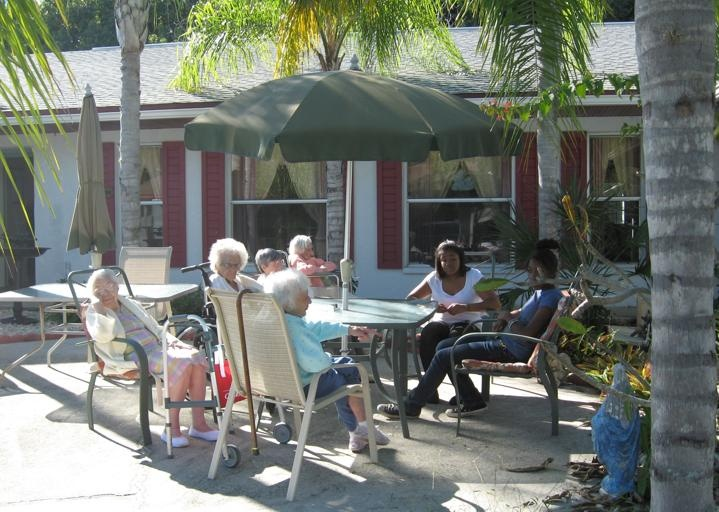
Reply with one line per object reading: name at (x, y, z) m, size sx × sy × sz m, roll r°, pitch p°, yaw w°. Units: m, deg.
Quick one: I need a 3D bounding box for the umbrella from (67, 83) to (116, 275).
umbrella at (-3.192, -0.931, 10.832) m, size 0.522 × 2.110 × 0.586 m, roll -1°, pitch 3°, yaw 8°

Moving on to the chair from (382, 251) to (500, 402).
chair at (0.877, 0.630, 9.124) m, size 0.876 × 1.607 × 0.826 m, roll -1°, pitch -3°, yaw 35°

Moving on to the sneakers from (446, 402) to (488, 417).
sneakers at (1.000, 1.410, 8.490) m, size 0.408 × 0.192 × 0.162 m, roll 2°, pitch -2°, yaw -8°

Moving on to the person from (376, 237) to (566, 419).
person at (1.045, 0.625, 8.567) m, size 1.435 × 1.873 × 0.711 m, roll 6°, pitch 6°, yaw 3°

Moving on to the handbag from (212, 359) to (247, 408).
handbag at (-1.164, 1.038, 8.140) m, size 0.256 × 0.381 × 0.275 m, roll 25°, pitch -20°, yaw -16°

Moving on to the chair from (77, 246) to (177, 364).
chair at (-2.579, 0.263, 10.473) m, size 0.621 × 1.275 × 0.824 m, roll 0°, pitch -3°, yaw 6°

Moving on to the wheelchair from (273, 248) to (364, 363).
wheelchair at (-0.513, 0.285, 10.057) m, size 0.572 × 0.807 × 0.623 m, roll -15°, pitch 1°, yaw -8°

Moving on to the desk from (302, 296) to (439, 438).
desk at (0.161, 0.789, 8.482) m, size 1.134 × 0.989 × 1.039 m, roll 5°, pitch 15°, yaw 25°

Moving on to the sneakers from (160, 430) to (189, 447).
sneakers at (-1.578, 1.554, 7.827) m, size 0.226 × 0.095 × 0.130 m, roll 2°, pitch 4°, yaw 38°

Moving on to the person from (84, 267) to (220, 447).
person at (-1.830, 0.854, 7.934) m, size 1.128 × 1.495 × 0.585 m, roll -1°, pitch 3°, yaw 19°

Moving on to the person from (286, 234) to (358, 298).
person at (-0.379, 0.110, 10.069) m, size 0.360 × 1.016 × 0.465 m, roll -10°, pitch 12°, yaw 24°

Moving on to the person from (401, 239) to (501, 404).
person at (0.859, 0.620, 9.127) m, size 0.845 × 1.586 × 0.824 m, roll 0°, pitch -1°, yaw 36°

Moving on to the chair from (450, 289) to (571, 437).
chair at (1.114, 0.893, 8.222) m, size 0.874 × 1.300 × 0.914 m, roll 9°, pitch -12°, yaw -4°

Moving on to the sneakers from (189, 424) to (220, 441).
sneakers at (-1.338, 1.495, 7.934) m, size 0.232 × 0.097 × 0.121 m, roll 0°, pitch 3°, yaw 22°

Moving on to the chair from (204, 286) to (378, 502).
chair at (-0.578, 1.032, 7.587) m, size 0.890 × 1.538 × 1.028 m, roll 2°, pitch 3°, yaw 31°
